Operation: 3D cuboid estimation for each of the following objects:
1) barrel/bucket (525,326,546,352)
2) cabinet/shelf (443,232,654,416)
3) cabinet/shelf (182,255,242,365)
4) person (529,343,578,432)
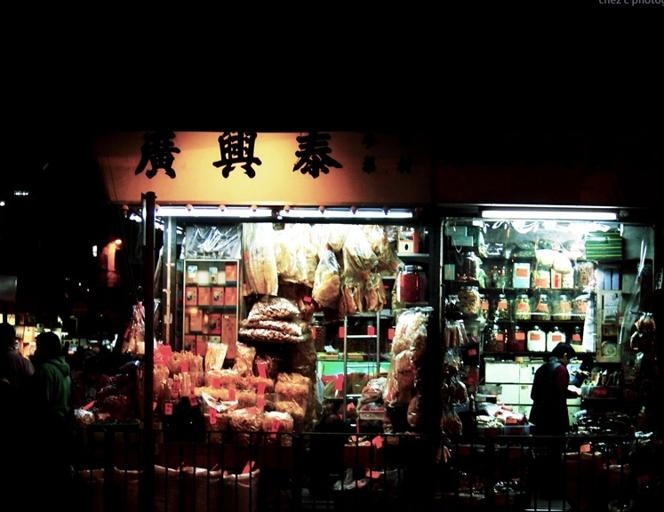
[{"bbox_3d":[2.939,1.208,10.122,0.299,0.486,0.278,1,-13,0],"label":"barrel/bucket"},{"bbox_3d":[2.880,0.931,9.503,2.318,2.382,0.816,0,3,-3],"label":"cabinet/shelf"},{"bbox_3d":[-1.565,0.756,9.028,0.667,1.370,0.385,1,-25,-6],"label":"cabinet/shelf"},{"bbox_3d":[2.761,1.655,8.861,0.528,1.080,0.551,0,-3,16],"label":"person"}]
